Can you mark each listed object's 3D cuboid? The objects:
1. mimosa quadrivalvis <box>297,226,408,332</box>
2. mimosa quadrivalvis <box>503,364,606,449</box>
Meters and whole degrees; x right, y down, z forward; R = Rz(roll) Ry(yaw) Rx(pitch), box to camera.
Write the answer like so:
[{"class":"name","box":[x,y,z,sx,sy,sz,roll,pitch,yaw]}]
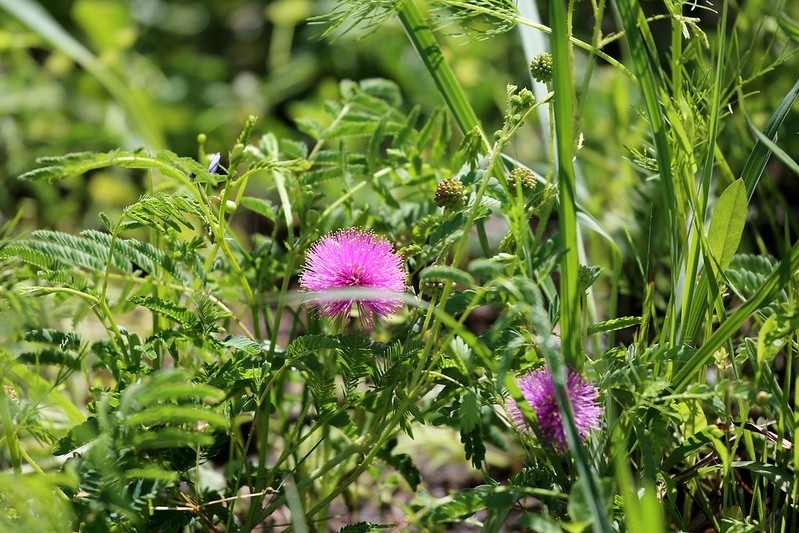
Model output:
[{"class":"mimosa quadrivalvis","box":[-0.073,0.015,1.569,0.119,0.119,0.140,15,87,-17]},{"class":"mimosa quadrivalvis","box":[0.295,0.240,1.507,0.150,0.138,0.153,-29,19,-17]}]
